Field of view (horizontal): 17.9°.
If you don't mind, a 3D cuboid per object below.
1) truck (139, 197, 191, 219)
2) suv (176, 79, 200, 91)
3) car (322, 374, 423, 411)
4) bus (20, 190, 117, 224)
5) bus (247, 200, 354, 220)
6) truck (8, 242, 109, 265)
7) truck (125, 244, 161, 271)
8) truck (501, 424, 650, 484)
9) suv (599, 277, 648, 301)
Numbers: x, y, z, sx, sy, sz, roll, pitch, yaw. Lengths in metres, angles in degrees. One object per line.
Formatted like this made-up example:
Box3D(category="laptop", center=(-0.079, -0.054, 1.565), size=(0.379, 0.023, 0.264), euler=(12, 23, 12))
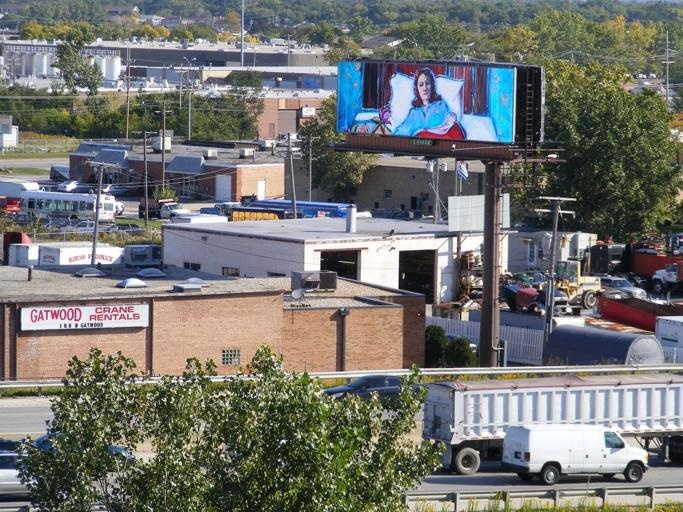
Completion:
Box3D(category="truck", center=(-21.262, -6.576, 251.527), size=(5.390, 2.501, 2.670), euler=(-2, -1, 42))
Box3D(category="suv", center=(-24.203, -27.852, 341.103), size=(3.692, 1.854, 5.013), euler=(-1, 1, -11))
Box3D(category="car", center=(2.397, 11.041, 191.528), size=(5.849, 1.973, 3.035), euler=(-1, 12, -7))
Box3D(category="bus", center=(-32.355, -5.847, 249.758), size=(12.027, 4.407, 4.784), euler=(3, 1, 31))
Box3D(category="bus", center=(-4.736, -6.002, 239.341), size=(12.307, 3.417, 4.054), euler=(6, 7, 36))
Box3D(category="truck", center=(-29.366, -0.787, 217.775), size=(8.461, 2.030, 4.802), euler=(-2, 12, -13))
Box3D(category="truck", center=(-19.500, -0.532, 211.422), size=(2.528, 1.689, 2.628), euler=(-1, 6, -19))
Box3D(category="truck", center=(20.309, 16.276, 185.871), size=(12.099, 4.773, 5.822), euler=(0, 3, -21))
Box3D(category="suv", center=(28.019, 2.629, 216.590), size=(2.017, 1.861, 4.312), euler=(-2, 4, -39))
